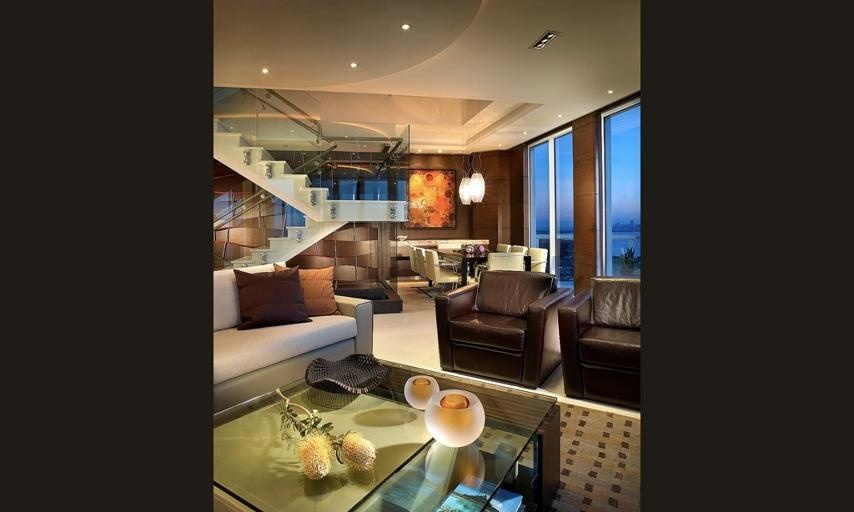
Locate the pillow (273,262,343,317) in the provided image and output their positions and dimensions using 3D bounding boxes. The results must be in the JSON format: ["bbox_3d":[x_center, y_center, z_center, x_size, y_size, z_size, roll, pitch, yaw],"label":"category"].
[{"bbox_3d":[-0.756,0.225,3.530,0.351,0.329,0.127,3,-34,-32],"label":"pillow"}]

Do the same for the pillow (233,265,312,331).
[{"bbox_3d":[-0.891,0.231,3.192,0.415,0.332,0.194,-8,4,-23],"label":"pillow"}]

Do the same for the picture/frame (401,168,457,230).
[{"bbox_3d":[0.011,-1.048,9.922,1.329,1.403,0.100,0,8,-5],"label":"picture/frame"}]
